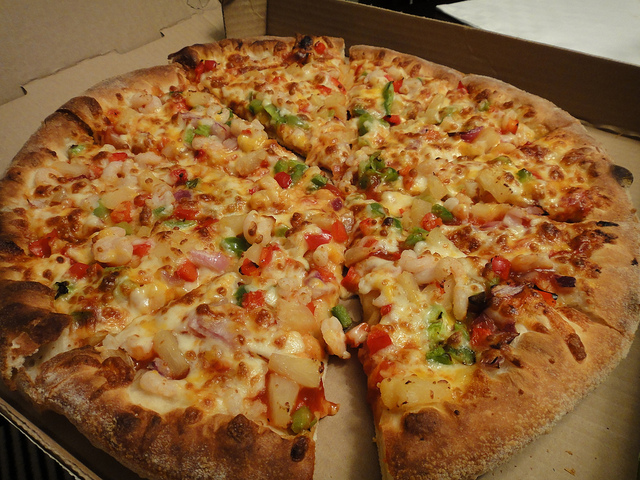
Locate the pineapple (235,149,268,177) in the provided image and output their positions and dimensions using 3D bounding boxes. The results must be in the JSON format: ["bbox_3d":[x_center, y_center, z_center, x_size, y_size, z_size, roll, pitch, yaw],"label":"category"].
[{"bbox_3d":[-0.576,-0.645,4.643,0.268,0.096,0.167,-42,78,-8],"label":"pineapple"}]

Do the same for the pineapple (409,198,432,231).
[{"bbox_3d":[0.748,-0.207,4.152,0.178,0.065,0.184,15,90,31],"label":"pineapple"}]

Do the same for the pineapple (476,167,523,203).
[{"bbox_3d":[1.348,-0.421,4.267,0.456,0.213,0.222,-3,22,-8],"label":"pineapple"}]

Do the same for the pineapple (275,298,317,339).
[{"bbox_3d":[-0.164,0.519,3.764,0.272,0.186,0.262,-4,54,-2],"label":"pineapple"}]

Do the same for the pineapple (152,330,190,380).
[{"bbox_3d":[-0.941,0.724,3.517,0.195,0.124,0.328,-39,82,-13],"label":"pineapple"}]

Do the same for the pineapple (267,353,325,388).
[{"bbox_3d":[-0.169,0.831,3.561,0.352,0.099,0.166,19,57,-4],"label":"pineapple"}]
